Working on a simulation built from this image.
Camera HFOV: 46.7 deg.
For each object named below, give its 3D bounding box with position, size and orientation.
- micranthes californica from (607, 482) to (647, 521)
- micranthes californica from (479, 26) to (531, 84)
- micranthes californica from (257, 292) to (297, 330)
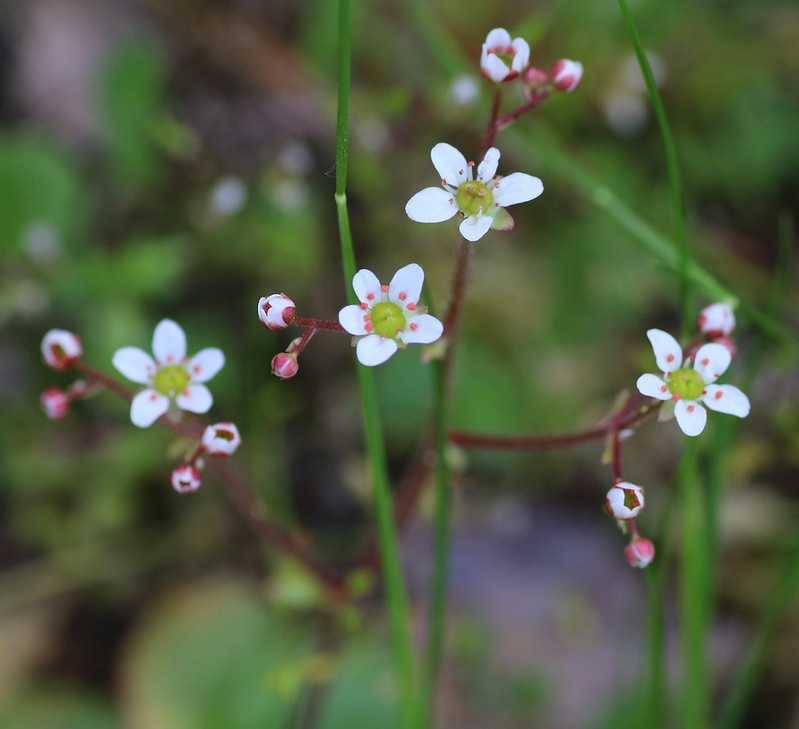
[{"bbox_3d":[0.927,0.560,3.780,0.110,0.174,0.133,-1,-8,5],"label":"micranthes californica"},{"bbox_3d":[0.435,-1.263,3.849,0.181,0.248,0.223,-9,-56,0],"label":"micranthes californica"},{"bbox_3d":[-0.506,-0.210,3.803,0.145,0.144,0.129,-17,-8,41],"label":"micranthes californica"}]
